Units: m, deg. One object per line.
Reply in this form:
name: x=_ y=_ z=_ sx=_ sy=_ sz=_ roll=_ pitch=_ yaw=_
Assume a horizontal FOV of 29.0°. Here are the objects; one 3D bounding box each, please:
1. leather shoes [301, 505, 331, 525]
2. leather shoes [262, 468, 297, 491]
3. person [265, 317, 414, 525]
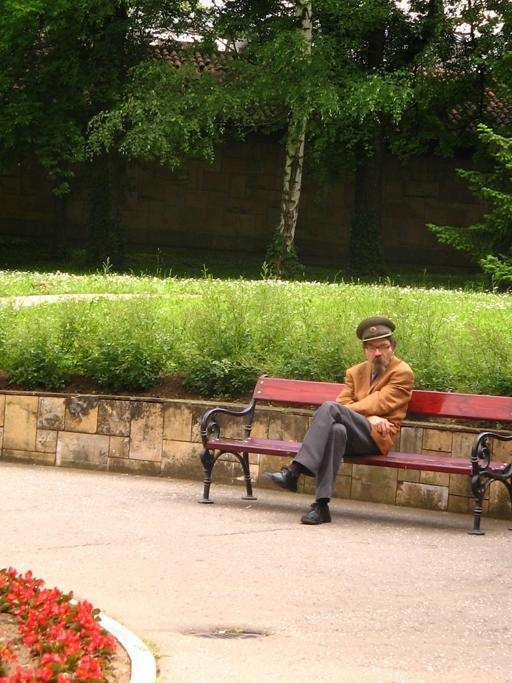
leather shoes: x=0.393 y=1.124 z=6.475 sx=0.089 sy=0.094 sz=0.228 roll=-1 pitch=-6 yaw=41
leather shoes: x=0.160 y=0.908 z=6.600 sx=0.222 sy=0.171 sz=0.147 roll=2 pitch=3 yaw=0
person: x=0.589 y=0.498 z=6.745 sx=0.538 sy=1.343 sz=0.971 roll=5 pitch=4 yaw=38
